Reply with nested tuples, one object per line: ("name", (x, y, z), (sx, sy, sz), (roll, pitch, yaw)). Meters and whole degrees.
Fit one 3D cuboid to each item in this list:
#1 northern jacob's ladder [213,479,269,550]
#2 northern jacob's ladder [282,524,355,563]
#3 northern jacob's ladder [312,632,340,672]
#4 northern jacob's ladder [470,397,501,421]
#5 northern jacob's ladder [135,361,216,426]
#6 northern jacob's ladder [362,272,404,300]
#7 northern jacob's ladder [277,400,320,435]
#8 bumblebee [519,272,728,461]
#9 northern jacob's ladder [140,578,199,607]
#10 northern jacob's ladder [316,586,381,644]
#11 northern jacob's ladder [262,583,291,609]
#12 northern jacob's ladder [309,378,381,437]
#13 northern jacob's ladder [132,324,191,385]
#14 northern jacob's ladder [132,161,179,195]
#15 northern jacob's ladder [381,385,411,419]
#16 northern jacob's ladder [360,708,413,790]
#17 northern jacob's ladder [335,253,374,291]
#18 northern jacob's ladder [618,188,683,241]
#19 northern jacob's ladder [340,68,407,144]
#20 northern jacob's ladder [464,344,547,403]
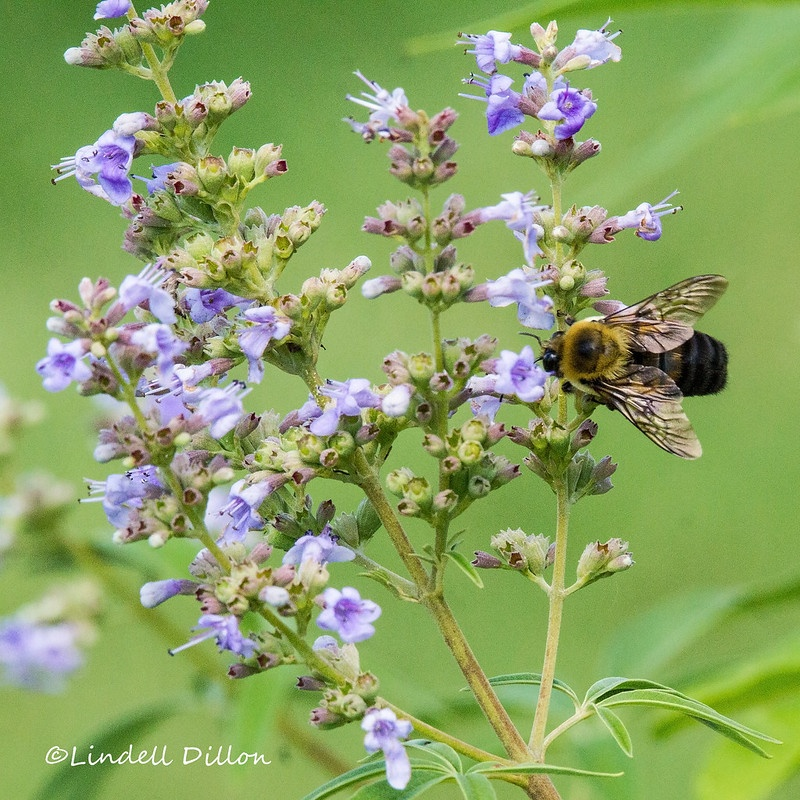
("northern jacob's ladder", (-0.269, 0.193, 2.388), (0.086, 0.125, 0.048), (36, -97, 4))
("northern jacob's ladder", (-0.135, 0.248, 2.341), (0.076, 0.071, 0.022), (11, -112, -22))
("northern jacob's ladder", (-0.126, 0.419, 2.344), (0.039, 0.042, 0.020), (8, -49, -25))
("northern jacob's ladder", (0.148, 0.020, 2.516), (0.021, 0.052, 0.039), (-19, -95, -20))
("northern jacob's ladder", (-0.375, -0.013, 2.346), (0.086, 0.049, 0.083), (-27, -39, -1))
("northern jacob's ladder", (-0.031, -0.191, 2.399), (0.034, 0.076, 0.029), (11, -76, 34))
("northern jacob's ladder", (-0.173, 0.031, 2.416), (0.094, 0.045, 0.038), (-31, -108, 41))
("bumblebee", (0.523, -0.072, 2.756), (0.404, 0.412, 0.312), (-32, -83, 5))
("northern jacob's ladder", (-0.386, 0.330, 2.370), (0.049, 0.110, 0.030), (13, -81, 34))
("northern jacob's ladder", (-0.088, 0.331, 2.176), (0.113, 0.119, 0.033), (20, -69, 22))
("northern jacob's ladder", (-0.198, 0.313, 2.211), (0.049, 0.022, 0.024), (19, -75, 30))
("northern jacob's ladder", (-0.095, 0.014, 2.303), (0.046, 0.108, 0.095), (39, -124, -37))
("northern jacob's ladder", (-0.378, -0.079, 2.203), (0.094, 0.092, 0.044), (-22, -46, -30))
("northern jacob's ladder", (-0.421, -0.387, 2.417), (0.063, 0.066, 0.028), (-41, -86, 9))
("northern jacob's ladder", (-0.006, 0.001, 2.331), (0.048, 0.076, 0.054), (13, -82, -1))
("northern jacob's ladder", (-0.021, 0.543, 2.187), (0.075, 0.044, 0.126), (-14, -101, -5))
("northern jacob's ladder", (-0.072, -0.226, 2.463), (0.077, 0.033, 0.038), (-46, -63, -14))
("northern jacob's ladder", (0.450, -0.328, 2.561), (0.130, 0.060, 0.049), (-8, -69, 15))
("northern jacob's ladder", (-0.045, -0.500, 2.428), (0.106, 0.194, 0.103), (29, -83, -3))
("northern jacob's ladder", (0.207, -0.047, 2.328), (0.074, 0.131, 0.069), (3, -92, 13))
